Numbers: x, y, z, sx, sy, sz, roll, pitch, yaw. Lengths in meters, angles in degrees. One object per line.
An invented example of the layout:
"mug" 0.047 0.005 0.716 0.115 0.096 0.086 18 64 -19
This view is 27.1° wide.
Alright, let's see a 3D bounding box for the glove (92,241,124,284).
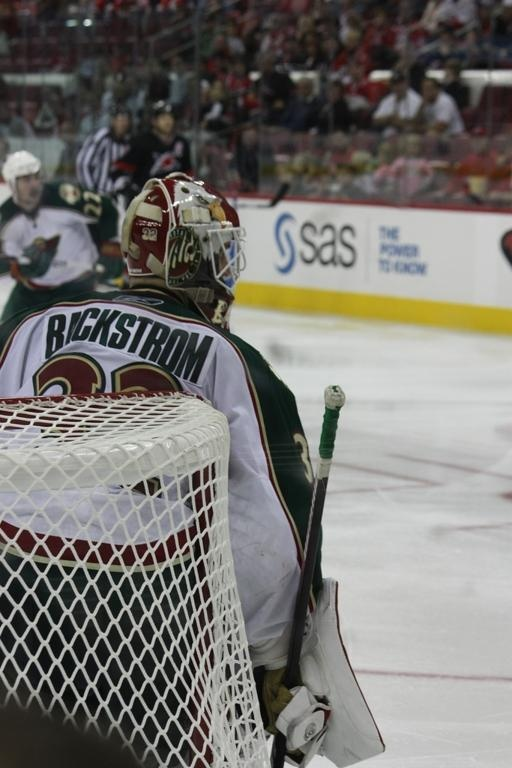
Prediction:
"glove" -0.857 -0.730 6.319 0.197 0.244 0.264 0 -3 -5
